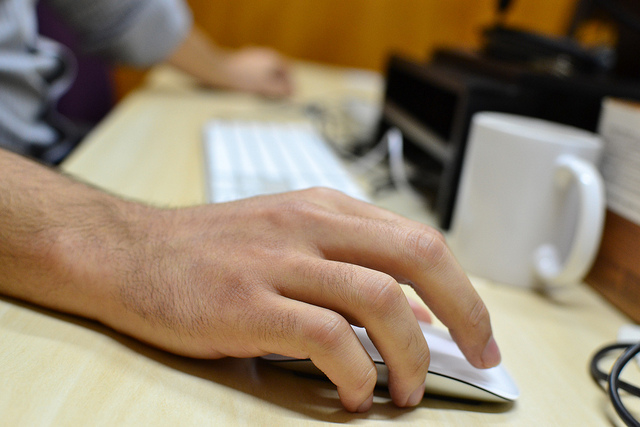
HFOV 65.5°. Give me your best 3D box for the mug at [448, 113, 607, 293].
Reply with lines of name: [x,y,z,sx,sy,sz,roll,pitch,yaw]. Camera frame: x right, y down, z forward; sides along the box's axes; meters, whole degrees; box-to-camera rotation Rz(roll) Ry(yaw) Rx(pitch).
mug: [0.258,-0.022,0.630,0.157,0.153,0.185,10,52,12]

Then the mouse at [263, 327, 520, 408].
mouse: [0.075,0.155,0.457,0.198,0.045,0.099,8,11,-13]

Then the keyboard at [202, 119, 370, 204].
keyboard: [-0.059,-0.084,0.777,0.276,0.128,0.011,2,6,17]
